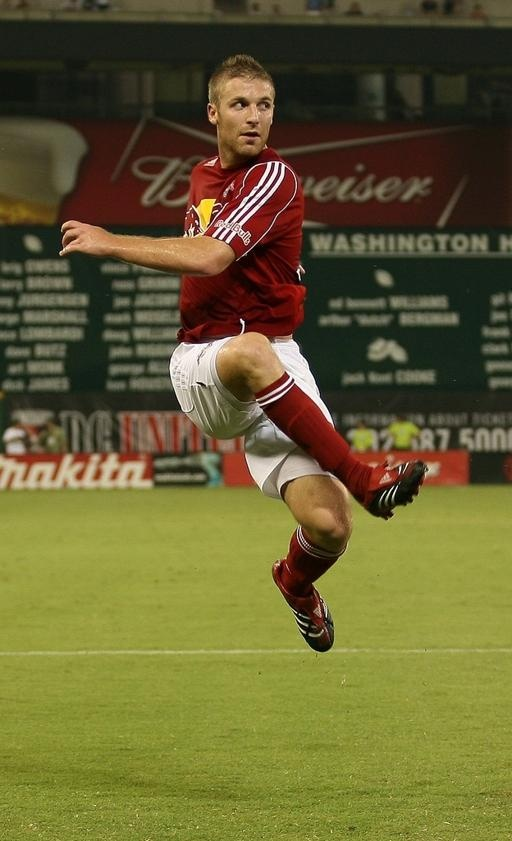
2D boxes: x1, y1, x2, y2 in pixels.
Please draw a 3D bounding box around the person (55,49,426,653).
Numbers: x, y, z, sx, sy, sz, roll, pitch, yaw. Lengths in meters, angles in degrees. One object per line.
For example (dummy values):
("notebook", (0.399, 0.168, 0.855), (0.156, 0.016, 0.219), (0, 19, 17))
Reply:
("person", (-0.034, -0.148, 3.232), (0.887, 2.021, 0.912), (0, 3, -9))
